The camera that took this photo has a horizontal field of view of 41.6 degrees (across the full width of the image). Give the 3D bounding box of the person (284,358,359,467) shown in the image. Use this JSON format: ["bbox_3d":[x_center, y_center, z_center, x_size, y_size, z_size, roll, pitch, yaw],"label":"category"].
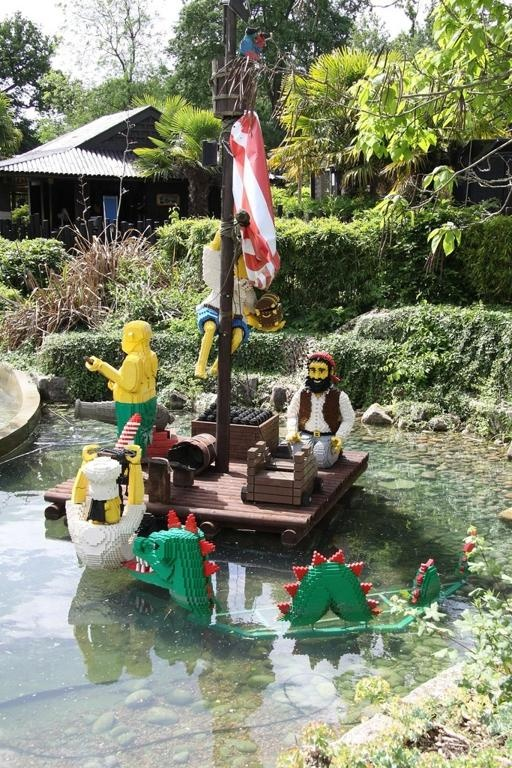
[{"bbox_3d":[0.540,0.230,5.728,0.554,0.984,0.427,1,10,2],"label":"person"}]

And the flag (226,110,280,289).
[{"bbox_3d":[-0.030,-1.420,5.015,0.361,1.480,0.204,2,-19,-16],"label":"flag"}]

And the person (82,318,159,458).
[{"bbox_3d":[-0.989,0.069,5.051,0.473,1.077,0.615,-1,10,-9],"label":"person"}]

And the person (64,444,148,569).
[{"bbox_3d":[-0.993,0.824,4.433,0.510,0.867,0.495,-2,10,-11],"label":"person"}]
